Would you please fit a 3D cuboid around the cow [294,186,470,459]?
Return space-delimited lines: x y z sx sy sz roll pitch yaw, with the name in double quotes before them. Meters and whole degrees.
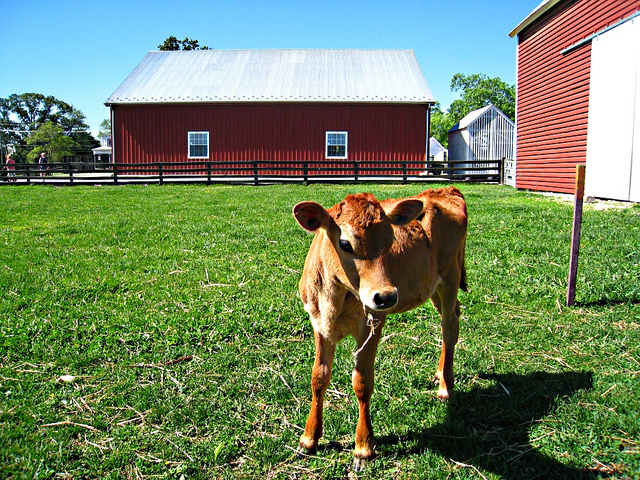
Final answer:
"cow" 0.718 0.724 6.322 1.117 2.567 2.222 8 14 41
